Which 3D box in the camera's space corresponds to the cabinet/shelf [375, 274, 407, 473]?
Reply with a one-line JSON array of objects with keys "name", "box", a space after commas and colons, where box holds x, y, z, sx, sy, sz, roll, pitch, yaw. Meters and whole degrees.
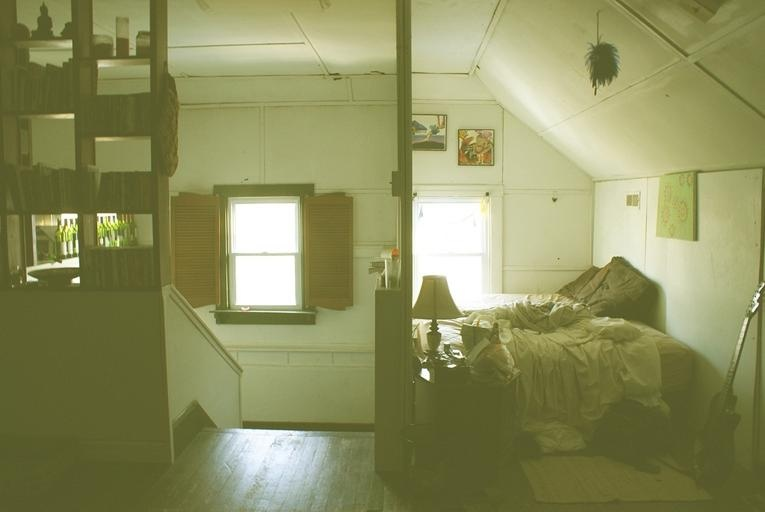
[{"name": "cabinet/shelf", "box": [0.076, 0.975, 5.080, 0.275, 1.426, 0.151, 0, 4, -1]}]

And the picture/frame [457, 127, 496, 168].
[{"name": "picture/frame", "box": [1.084, -1.291, 7.571, 0.456, 0.450, 0.046, 1, 1, 0]}]

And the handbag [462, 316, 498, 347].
[{"name": "handbag", "box": [0.866, 0.683, 5.819, 0.261, 0.237, 0.203, -3, -2, 4]}]

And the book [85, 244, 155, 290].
[{"name": "book", "box": [-2.114, 0.098, 5.174, 0.584, 0.326, 0.095, 0, 4, 5]}]

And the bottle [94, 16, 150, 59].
[{"name": "bottle", "box": [-2.064, -1.750, 5.222, 0.476, 0.361, 0.231, 1, 4, 16]}]

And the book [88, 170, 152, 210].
[{"name": "book", "box": [-2.059, -0.509, 5.099, 0.514, 0.374, 0.279, 0, -3, -2]}]
